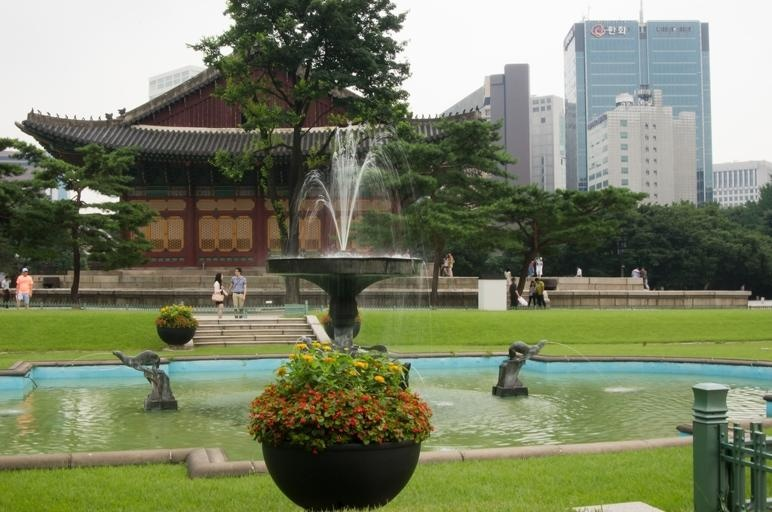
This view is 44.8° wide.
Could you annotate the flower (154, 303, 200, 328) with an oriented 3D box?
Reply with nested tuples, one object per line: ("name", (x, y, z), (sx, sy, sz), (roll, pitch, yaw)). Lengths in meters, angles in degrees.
("flower", (-7.905, 2.375, 36.248), (1.034, 0.766, 1.217), (-6, -13, 42))
